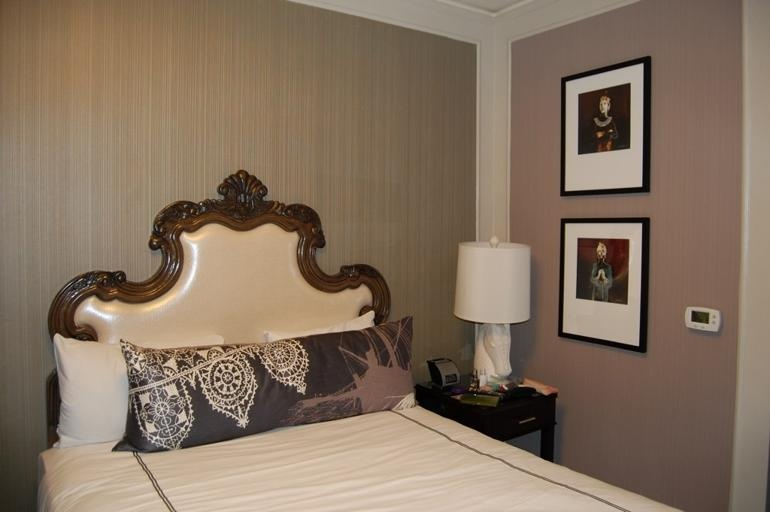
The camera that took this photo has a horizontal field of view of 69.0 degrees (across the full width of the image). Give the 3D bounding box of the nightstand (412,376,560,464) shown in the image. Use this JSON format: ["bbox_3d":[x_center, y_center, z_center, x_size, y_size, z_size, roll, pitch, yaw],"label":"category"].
[{"bbox_3d":[0.703,0.998,3.746,0.621,0.613,0.616,1,0,-40],"label":"nightstand"}]

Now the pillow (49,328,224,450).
[{"bbox_3d":[-1.294,0.702,2.871,0.451,0.787,0.227,12,-12,-18],"label":"pillow"}]
